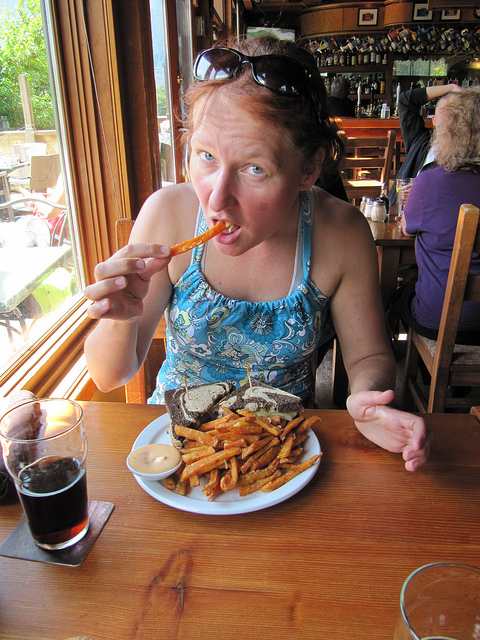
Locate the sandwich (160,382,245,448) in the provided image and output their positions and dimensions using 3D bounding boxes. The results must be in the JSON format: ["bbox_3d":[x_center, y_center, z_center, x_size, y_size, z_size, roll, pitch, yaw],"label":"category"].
[{"bbox_3d":[-0.074,0.167,0.955,0.108,0.028,0.106,-19,11,-20],"label":"sandwich"}]

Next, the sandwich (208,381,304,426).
[{"bbox_3d":[0.019,0.157,0.958,0.142,0.049,0.138,-19,28,-34],"label":"sandwich"}]

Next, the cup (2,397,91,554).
[{"bbox_3d":[-0.266,0.219,0.742,0.106,0.176,0.163,-12,25,-20],"label":"cup"}]
